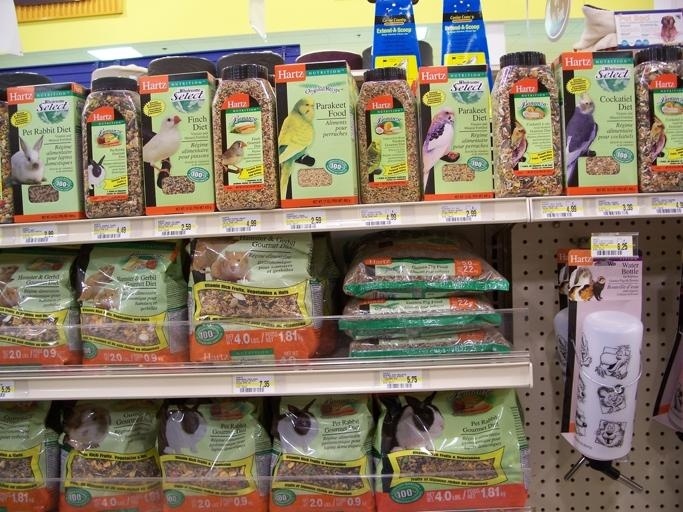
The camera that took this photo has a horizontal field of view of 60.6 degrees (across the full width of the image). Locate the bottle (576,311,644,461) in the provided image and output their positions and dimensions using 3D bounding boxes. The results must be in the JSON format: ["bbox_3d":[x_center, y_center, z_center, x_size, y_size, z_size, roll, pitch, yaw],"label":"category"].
[{"bbox_3d":[0.828,0.405,1.912,0.252,0.473,0.178,-1,10,3],"label":"bottle"}]
